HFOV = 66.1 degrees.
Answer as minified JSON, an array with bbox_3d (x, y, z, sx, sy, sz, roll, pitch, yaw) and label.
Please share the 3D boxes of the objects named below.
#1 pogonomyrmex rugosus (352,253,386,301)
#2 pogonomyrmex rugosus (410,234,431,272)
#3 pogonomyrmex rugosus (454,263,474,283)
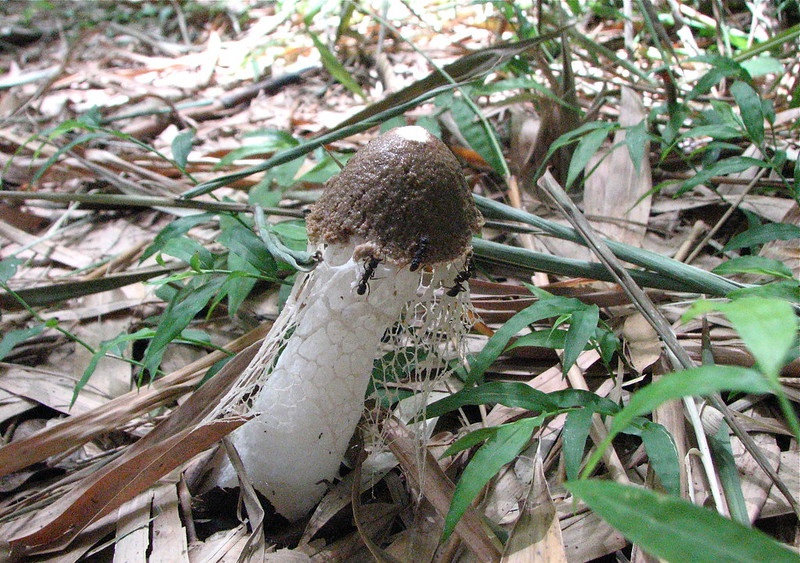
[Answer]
[{"bbox_3d":[-0.095,-0.015,1.747,0.056,0.122,0.035,34,33,6],"label":"pogonomyrmex rugosus"},{"bbox_3d":[0.051,-0.076,1.702,0.037,0.109,0.033,20,-8,19],"label":"pogonomyrmex rugosus"},{"bbox_3d":[0.191,-0.029,1.906,0.041,0.073,0.031,25,10,-7],"label":"pogonomyrmex rugosus"}]
